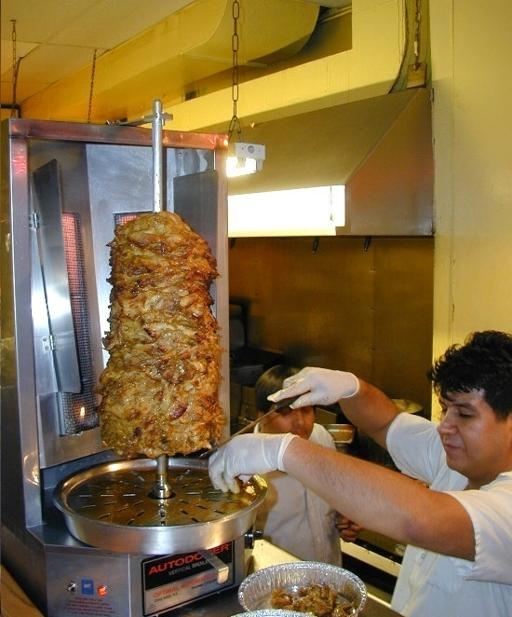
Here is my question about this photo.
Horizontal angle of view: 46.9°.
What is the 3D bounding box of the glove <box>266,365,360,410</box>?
[{"bbox_3d":[0.167,0.217,1.607,0.335,0.081,0.103,-10,-18,-46],"label":"glove"}]
